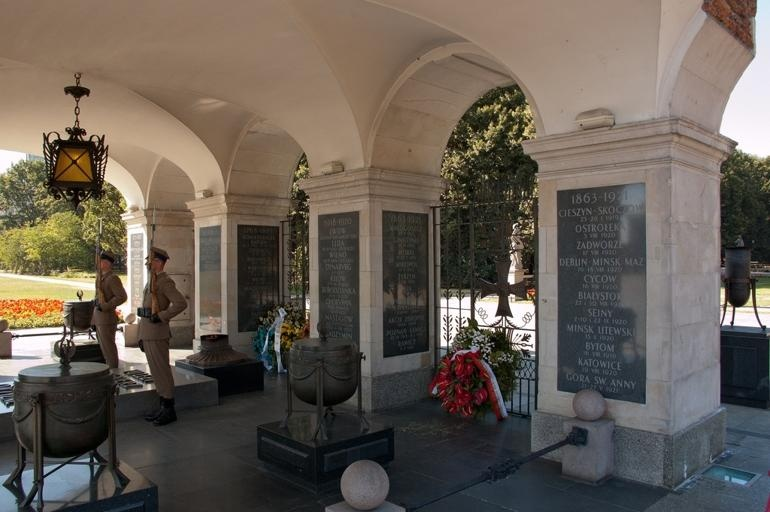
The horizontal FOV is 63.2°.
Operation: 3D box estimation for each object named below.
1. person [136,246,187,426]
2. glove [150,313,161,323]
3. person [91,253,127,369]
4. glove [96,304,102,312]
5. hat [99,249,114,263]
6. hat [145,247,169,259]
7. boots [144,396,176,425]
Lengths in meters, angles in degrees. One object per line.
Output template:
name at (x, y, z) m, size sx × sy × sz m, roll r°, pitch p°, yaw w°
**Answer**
person at (-3.464, 1.263, 9.661) m, size 0.686 × 2.752 × 0.484 m, roll -1°, pitch -2°, yaw -7°
glove at (-3.497, 0.960, 9.543) m, size 0.155 × 0.123 × 0.110 m, roll 0°, pitch -2°, yaw -26°
person at (-5.013, 1.002, 11.355) m, size 0.567 × 2.156 × 1.063 m, roll 0°, pitch -3°, yaw -26°
glove at (-5.110, 0.944, 11.141) m, size 0.074 × 0.112 × 0.188 m, roll 1°, pitch -2°, yaw -33°
hat at (-5.026, 0.014, 11.299) m, size 0.213 × 0.216 × 0.629 m, roll 0°, pitch -2°, yaw -19°
hat at (-3.600, -0.043, 9.725) m, size 0.334 × 0.136 × 0.285 m, roll 14°, pitch 5°, yaw 18°
boots at (-3.587, 2.495, 9.929) m, size 0.413 × 0.462 × 0.476 m, roll 8°, pitch -8°, yaw -42°
